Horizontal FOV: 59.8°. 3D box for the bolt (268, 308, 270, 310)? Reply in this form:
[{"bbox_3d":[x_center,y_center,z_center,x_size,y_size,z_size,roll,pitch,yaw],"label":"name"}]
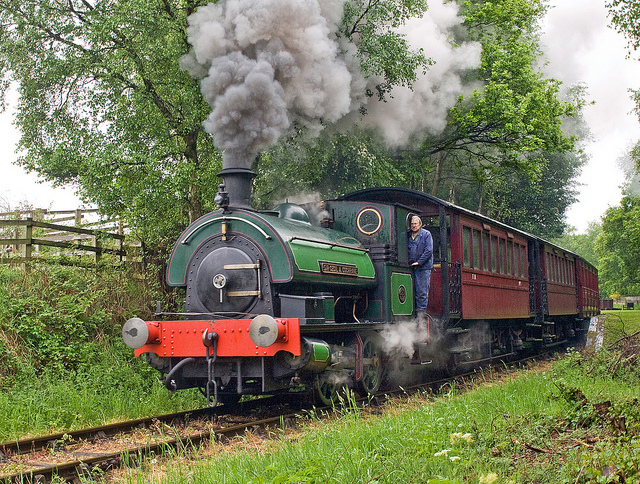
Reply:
[{"bbox_3d":[-0.762,0.999,8.289,0.027,0.035,0.028,-3,4,-28],"label":"bolt"}]

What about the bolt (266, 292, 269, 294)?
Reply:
[{"bbox_3d":[-0.788,0.755,8.309,0.046,0.029,0.005,-7,-8,27],"label":"bolt"}]

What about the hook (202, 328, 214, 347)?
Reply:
[{"bbox_3d":[-1.617,1.389,8.049,0.160,0.271,0.098,-3,-7,6],"label":"hook"}]

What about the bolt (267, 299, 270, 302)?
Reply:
[{"bbox_3d":[-0.774,0.868,8.302,0.035,0.027,0.010,-5,-7,18],"label":"bolt"}]

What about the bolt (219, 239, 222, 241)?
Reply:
[{"bbox_3d":[-1.551,-0.037,8.673,0.078,0.020,0.012,-11,-11,43],"label":"bolt"}]

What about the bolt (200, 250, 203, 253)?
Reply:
[{"bbox_3d":[-1.878,0.146,8.818,0.029,0.032,0.031,2,0,10],"label":"bolt"}]

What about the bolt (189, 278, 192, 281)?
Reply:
[{"bbox_3d":[-2.057,0.592,8.823,0.024,0.030,0.028,8,16,-7],"label":"bolt"}]
